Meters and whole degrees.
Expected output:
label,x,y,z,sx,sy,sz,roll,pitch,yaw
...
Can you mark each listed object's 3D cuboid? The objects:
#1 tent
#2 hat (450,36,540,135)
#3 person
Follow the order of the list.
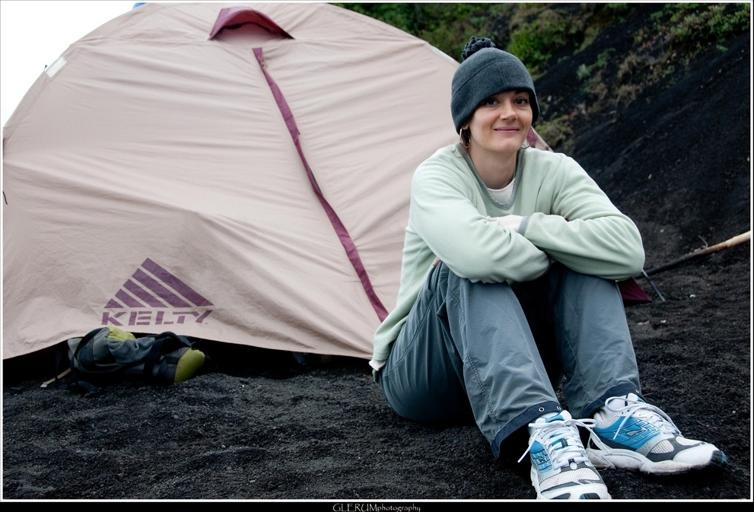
label,x,y,z,sx,sy,sz,roll,pitch,yaw
tent,-1.133,-0.613,5.073,3.257,1.394,3.095,8,16,25
hat,0.655,-0.897,3.754,0.492,0.479,0.512,1,-13,-17
person,0.656,-0.026,3.355,1.365,2.140,0.901,-13,2,-1
